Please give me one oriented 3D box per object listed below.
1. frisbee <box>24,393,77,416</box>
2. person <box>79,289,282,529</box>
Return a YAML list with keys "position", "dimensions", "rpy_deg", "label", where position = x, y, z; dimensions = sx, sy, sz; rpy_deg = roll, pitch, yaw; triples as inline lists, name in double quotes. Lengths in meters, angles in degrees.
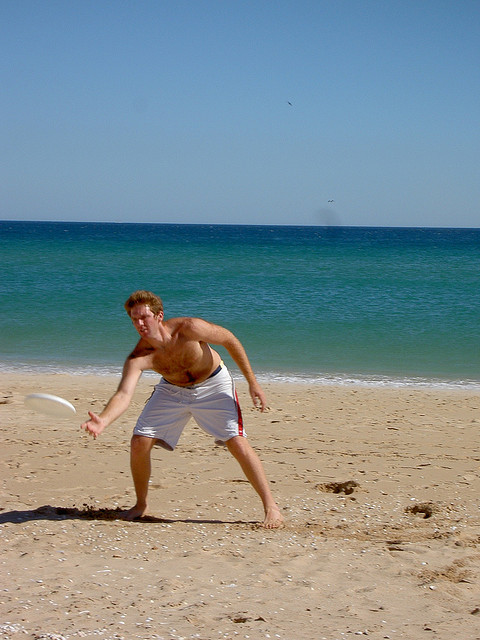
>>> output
- position: [-1.132, 0.502, 4.102]
  dimensions: [0.267, 0.138, 0.390]
  rpy_deg: [3, 0, -31]
  label: "frisbee"
- position: [-0.313, 0.566, 4.318]
  dimensions: [1.193, 1.465, 0.675]
  rpy_deg: [4, 0, -17]
  label: "person"
